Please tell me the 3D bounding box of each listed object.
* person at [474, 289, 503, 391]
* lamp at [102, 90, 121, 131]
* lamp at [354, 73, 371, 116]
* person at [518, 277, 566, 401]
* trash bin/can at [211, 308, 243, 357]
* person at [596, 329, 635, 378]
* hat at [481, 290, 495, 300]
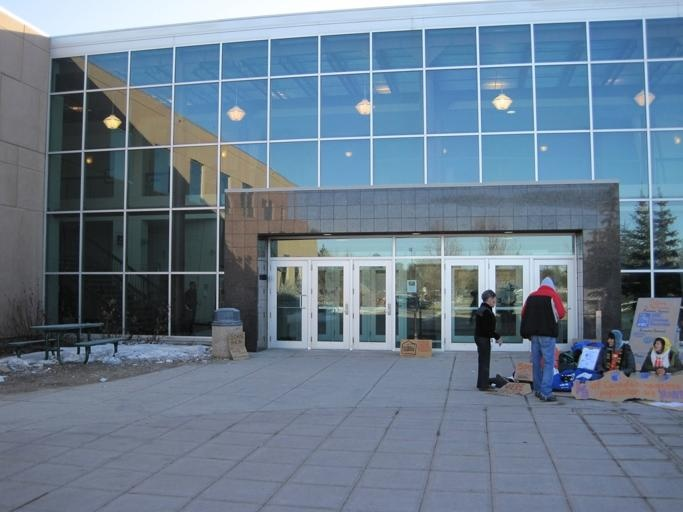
[{"bbox_3d":[3.265,1.823,14.224,0.592,2.146,0.790,1,4,14],"label":"person"},{"bbox_3d":[-7.997,-4.924,22.563,0.754,1.072,0.194,2,5,30],"label":"lamp"},{"bbox_3d":[0.705,-5.196,20.985,0.561,1.336,0.336,0,4,1],"label":"lamp"},{"bbox_3d":[4.172,1.742,13.251,0.677,2.285,0.801,-3,5,-36],"label":"person"},{"bbox_3d":[-3.211,2.218,18.427,1.005,1.360,0.860,-1,4,-11],"label":"trash bin/can"},{"bbox_3d":[5.818,2.062,13.575,0.701,0.830,0.805,2,5,29],"label":"person"},{"bbox_3d":[3.188,0.875,13.964,0.229,0.217,0.174,0,4,8],"label":"hat"}]
